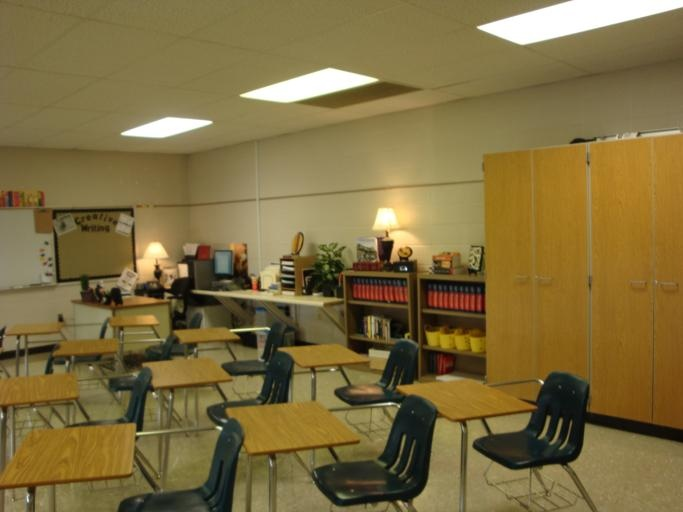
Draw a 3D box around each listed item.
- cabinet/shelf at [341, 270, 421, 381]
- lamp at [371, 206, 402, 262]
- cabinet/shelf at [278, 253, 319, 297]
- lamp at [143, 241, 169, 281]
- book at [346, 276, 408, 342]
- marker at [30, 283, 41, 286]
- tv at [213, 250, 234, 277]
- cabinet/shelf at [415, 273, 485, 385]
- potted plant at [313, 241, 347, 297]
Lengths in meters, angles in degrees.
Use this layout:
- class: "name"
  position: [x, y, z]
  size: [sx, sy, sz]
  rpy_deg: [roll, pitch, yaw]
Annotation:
- class: "cabinet/shelf"
  position: [0.534, 0.866, 6.980]
  size: [0.454, 1.400, 1.386]
  rpy_deg: [1, 0, -44]
- class: "lamp"
  position: [0.604, -0.294, 7.624]
  size: [0.321, 0.763, 0.469]
  rpy_deg: [-3, 4, -28]
- class: "cabinet/shelf"
  position: [-0.715, 0.298, 8.494]
  size: [0.569, 0.766, 0.497]
  rpy_deg: [2, -2, -38]
- class: "lamp"
  position: [-3.574, 0.088, 10.498]
  size: [0.455, 0.718, 0.550]
  rpy_deg: [-2, 3, -19]
- class: "book"
  position: [0.515, 0.723, 7.491]
  size: [0.278, 0.948, 0.911]
  rpy_deg: [1, -1, -40]
- class: "marker"
  position: [-5.227, 0.498, 9.276]
  size: [0.159, 0.063, 0.040]
  rpy_deg: [-3, 4, -30]
- class: "tv"
  position: [-2.144, 0.150, 9.976]
  size: [0.469, 0.502, 0.190]
  rpy_deg: [-1, -2, 28]
- class: "cabinet/shelf"
  position: [1.366, 0.912, 6.715]
  size: [0.442, 1.301, 1.342]
  rpy_deg: [1, -2, -36]
- class: "potted plant"
  position: [-0.166, 0.206, 8.153]
  size: [0.467, 0.804, 0.504]
  rpy_deg: [-1, 3, 3]
